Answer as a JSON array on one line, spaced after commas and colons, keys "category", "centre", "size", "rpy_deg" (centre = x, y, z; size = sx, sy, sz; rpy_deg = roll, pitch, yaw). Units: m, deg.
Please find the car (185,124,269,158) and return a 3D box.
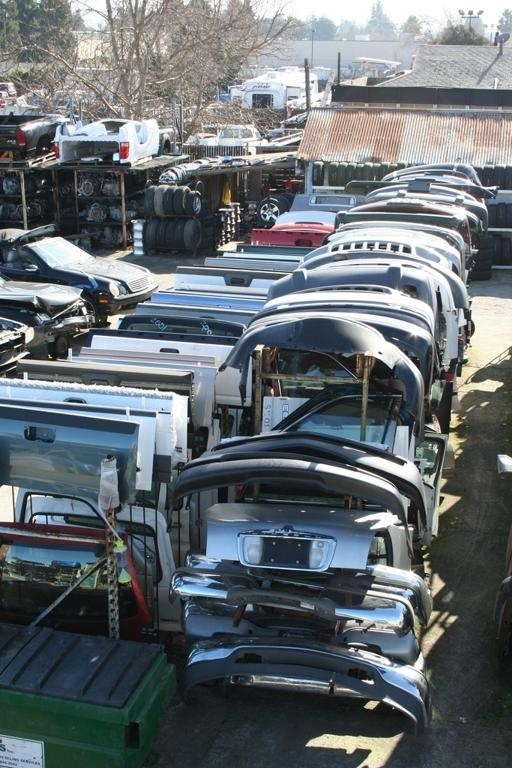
[{"category": "car", "centre": [-1.180, -9.496, 31.240], "size": [2.742, 1.408, 5.490], "rpy_deg": [0, 14, 0]}]
